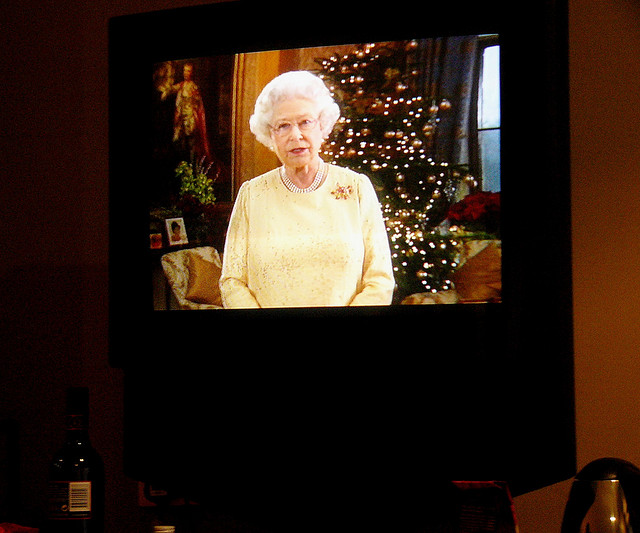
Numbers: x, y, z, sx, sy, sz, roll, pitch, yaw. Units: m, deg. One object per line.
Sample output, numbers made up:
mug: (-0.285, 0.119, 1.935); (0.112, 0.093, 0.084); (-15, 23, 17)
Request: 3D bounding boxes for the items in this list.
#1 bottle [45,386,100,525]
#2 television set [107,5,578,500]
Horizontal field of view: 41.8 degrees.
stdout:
bottle: (-0.630, 0.478, 2.109); (0.114, 0.367, 0.330); (2, -2, -22)
television set: (0.085, -0.020, 1.977); (1.262, 1.490, 0.196); (-1, -3, 9)
